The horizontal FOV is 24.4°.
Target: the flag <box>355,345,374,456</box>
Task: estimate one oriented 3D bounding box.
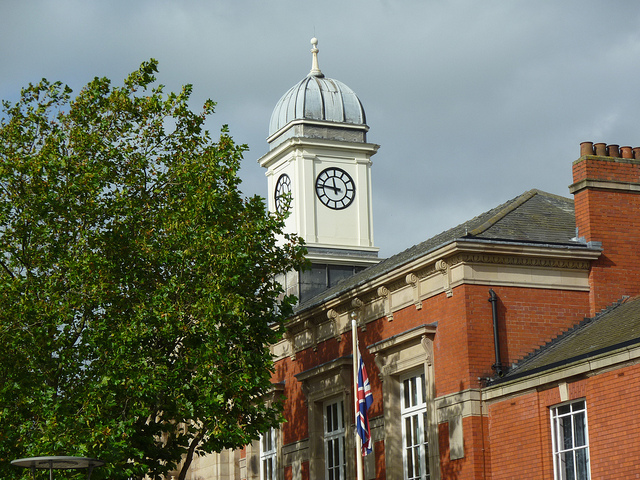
[{"bbox_3d":[1.218,4.363,39.138,0.384,2.734,0.488,5,-15,-24],"label":"flag"}]

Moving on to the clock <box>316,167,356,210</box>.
[{"bbox_3d":[0.530,-1.985,57.123,1.486,1.618,0.120,3,-9,-34],"label":"clock"}]

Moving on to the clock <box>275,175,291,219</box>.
[{"bbox_3d":[-1.318,-1.750,57.115,0.106,1.607,1.495,-1,-13,-32],"label":"clock"}]
